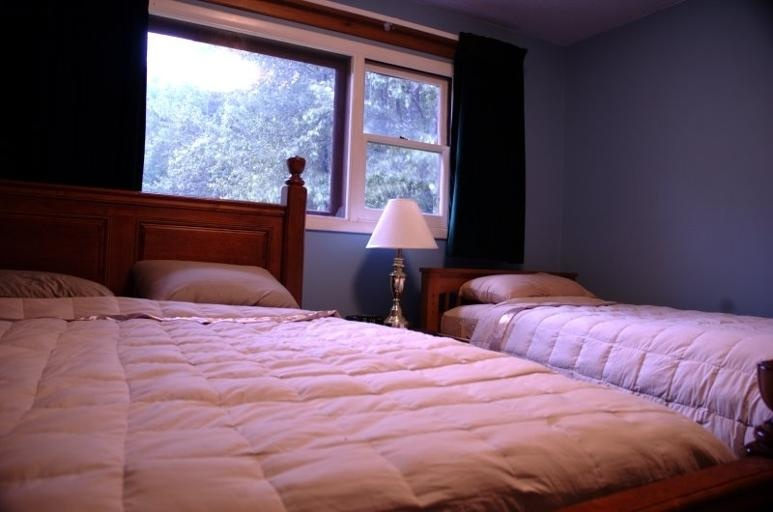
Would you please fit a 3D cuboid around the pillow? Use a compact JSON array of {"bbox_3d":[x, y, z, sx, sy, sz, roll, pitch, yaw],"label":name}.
[{"bbox_3d":[-1.109,0.139,2.655,0.752,0.171,0.533,7,-9,-15],"label":"pillow"}]
